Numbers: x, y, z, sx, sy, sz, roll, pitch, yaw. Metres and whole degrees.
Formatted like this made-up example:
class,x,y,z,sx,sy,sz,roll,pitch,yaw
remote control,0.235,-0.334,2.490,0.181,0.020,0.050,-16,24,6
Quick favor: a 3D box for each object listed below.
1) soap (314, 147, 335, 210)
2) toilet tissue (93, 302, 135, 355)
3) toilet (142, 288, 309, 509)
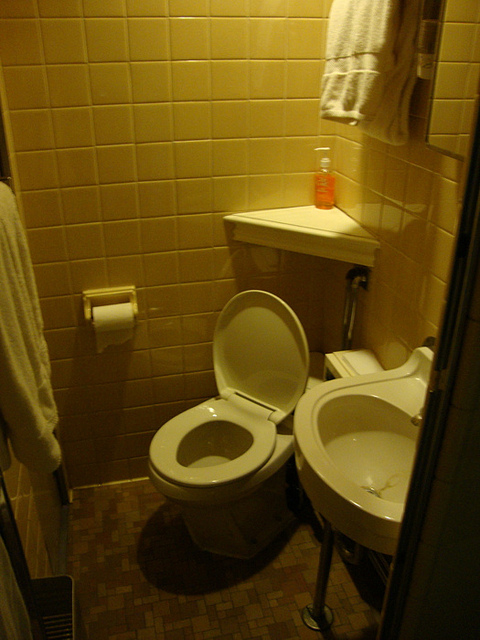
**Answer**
class,x,y,z,sx,sy,sz,roll,pitch,yaw
soap,0.282,-0.470,1.690,0.065,0.196,0.068,-2,12,-8
toilet tissue,-0.410,0.027,1.665,0.127,0.178,0.061,-12,29,-20
toilet,-0.035,0.303,1.548,0.362,0.688,0.572,18,24,34
